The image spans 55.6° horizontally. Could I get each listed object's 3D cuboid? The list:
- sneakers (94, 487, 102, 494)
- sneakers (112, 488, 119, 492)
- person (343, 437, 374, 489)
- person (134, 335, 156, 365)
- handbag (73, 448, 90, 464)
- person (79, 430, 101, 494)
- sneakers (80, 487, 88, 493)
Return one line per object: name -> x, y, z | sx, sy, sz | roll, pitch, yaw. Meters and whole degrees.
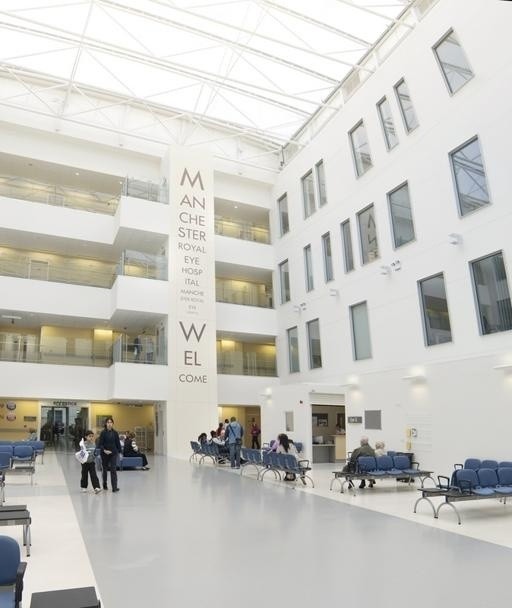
sneakers -> -3.320, 3.926, 10.319 | 0.131, 0.128, 0.102 | 10, -1, 16
sneakers -> -2.995, 3.984, 10.457 | 0.156, 0.113, 0.055 | -4, -4, -13
person -> 2.511, 3.793, 11.603 | 0.603, 1.249, 0.743 | 1, -9, -20
person -> -4.936, 2.043, 21.774 | 1.095, 1.238, 0.308 | 8, -16, -38
handbag -> -3.573, 3.163, 10.087 | 0.238, 0.309, 0.551 | 3, -13, -18
person -> -3.467, 3.337, 10.281 | 0.412, 1.232, 0.900 | 2, -13, -15
sneakers -> -3.664, 3.948, 10.401 | 0.088, 0.082, 0.193 | 4, -3, -17
